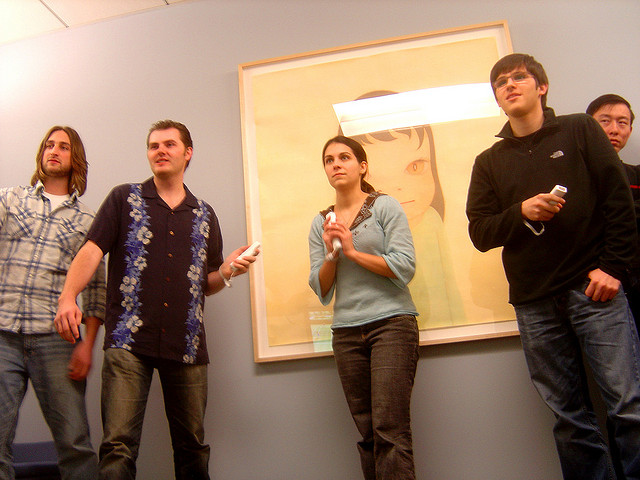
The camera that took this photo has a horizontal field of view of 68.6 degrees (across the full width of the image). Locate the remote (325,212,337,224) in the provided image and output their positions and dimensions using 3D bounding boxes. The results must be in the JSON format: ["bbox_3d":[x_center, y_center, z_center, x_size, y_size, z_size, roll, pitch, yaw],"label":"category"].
[{"bbox_3d":[0.049,-0.101,2.131,0.043,0.070,0.104,-6,-9,-3],"label":"remote"}]

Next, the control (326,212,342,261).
[{"bbox_3d":[0.062,-0.012,2.104,0.052,0.238,0.065,-1,-14,2],"label":"control"}]

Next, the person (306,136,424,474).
[{"bbox_3d":[0.194,0.231,2.194,0.385,1.560,0.431,-1,-10,-30],"label":"person"}]

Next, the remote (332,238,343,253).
[{"bbox_3d":[0.072,0.019,2.067,0.051,0.052,0.047,-26,-16,-10],"label":"remote"}]

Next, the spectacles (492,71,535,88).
[{"bbox_3d":[0.872,-0.725,2.123,0.168,0.052,0.047,-10,-10,22],"label":"spectacles"}]

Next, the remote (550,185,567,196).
[{"bbox_3d":[0.951,-0.197,1.869,0.042,0.043,0.042,5,-44,-15],"label":"remote"}]

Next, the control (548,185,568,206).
[{"bbox_3d":[0.968,-0.181,1.911,0.054,0.053,0.097,13,-38,1],"label":"control"}]
